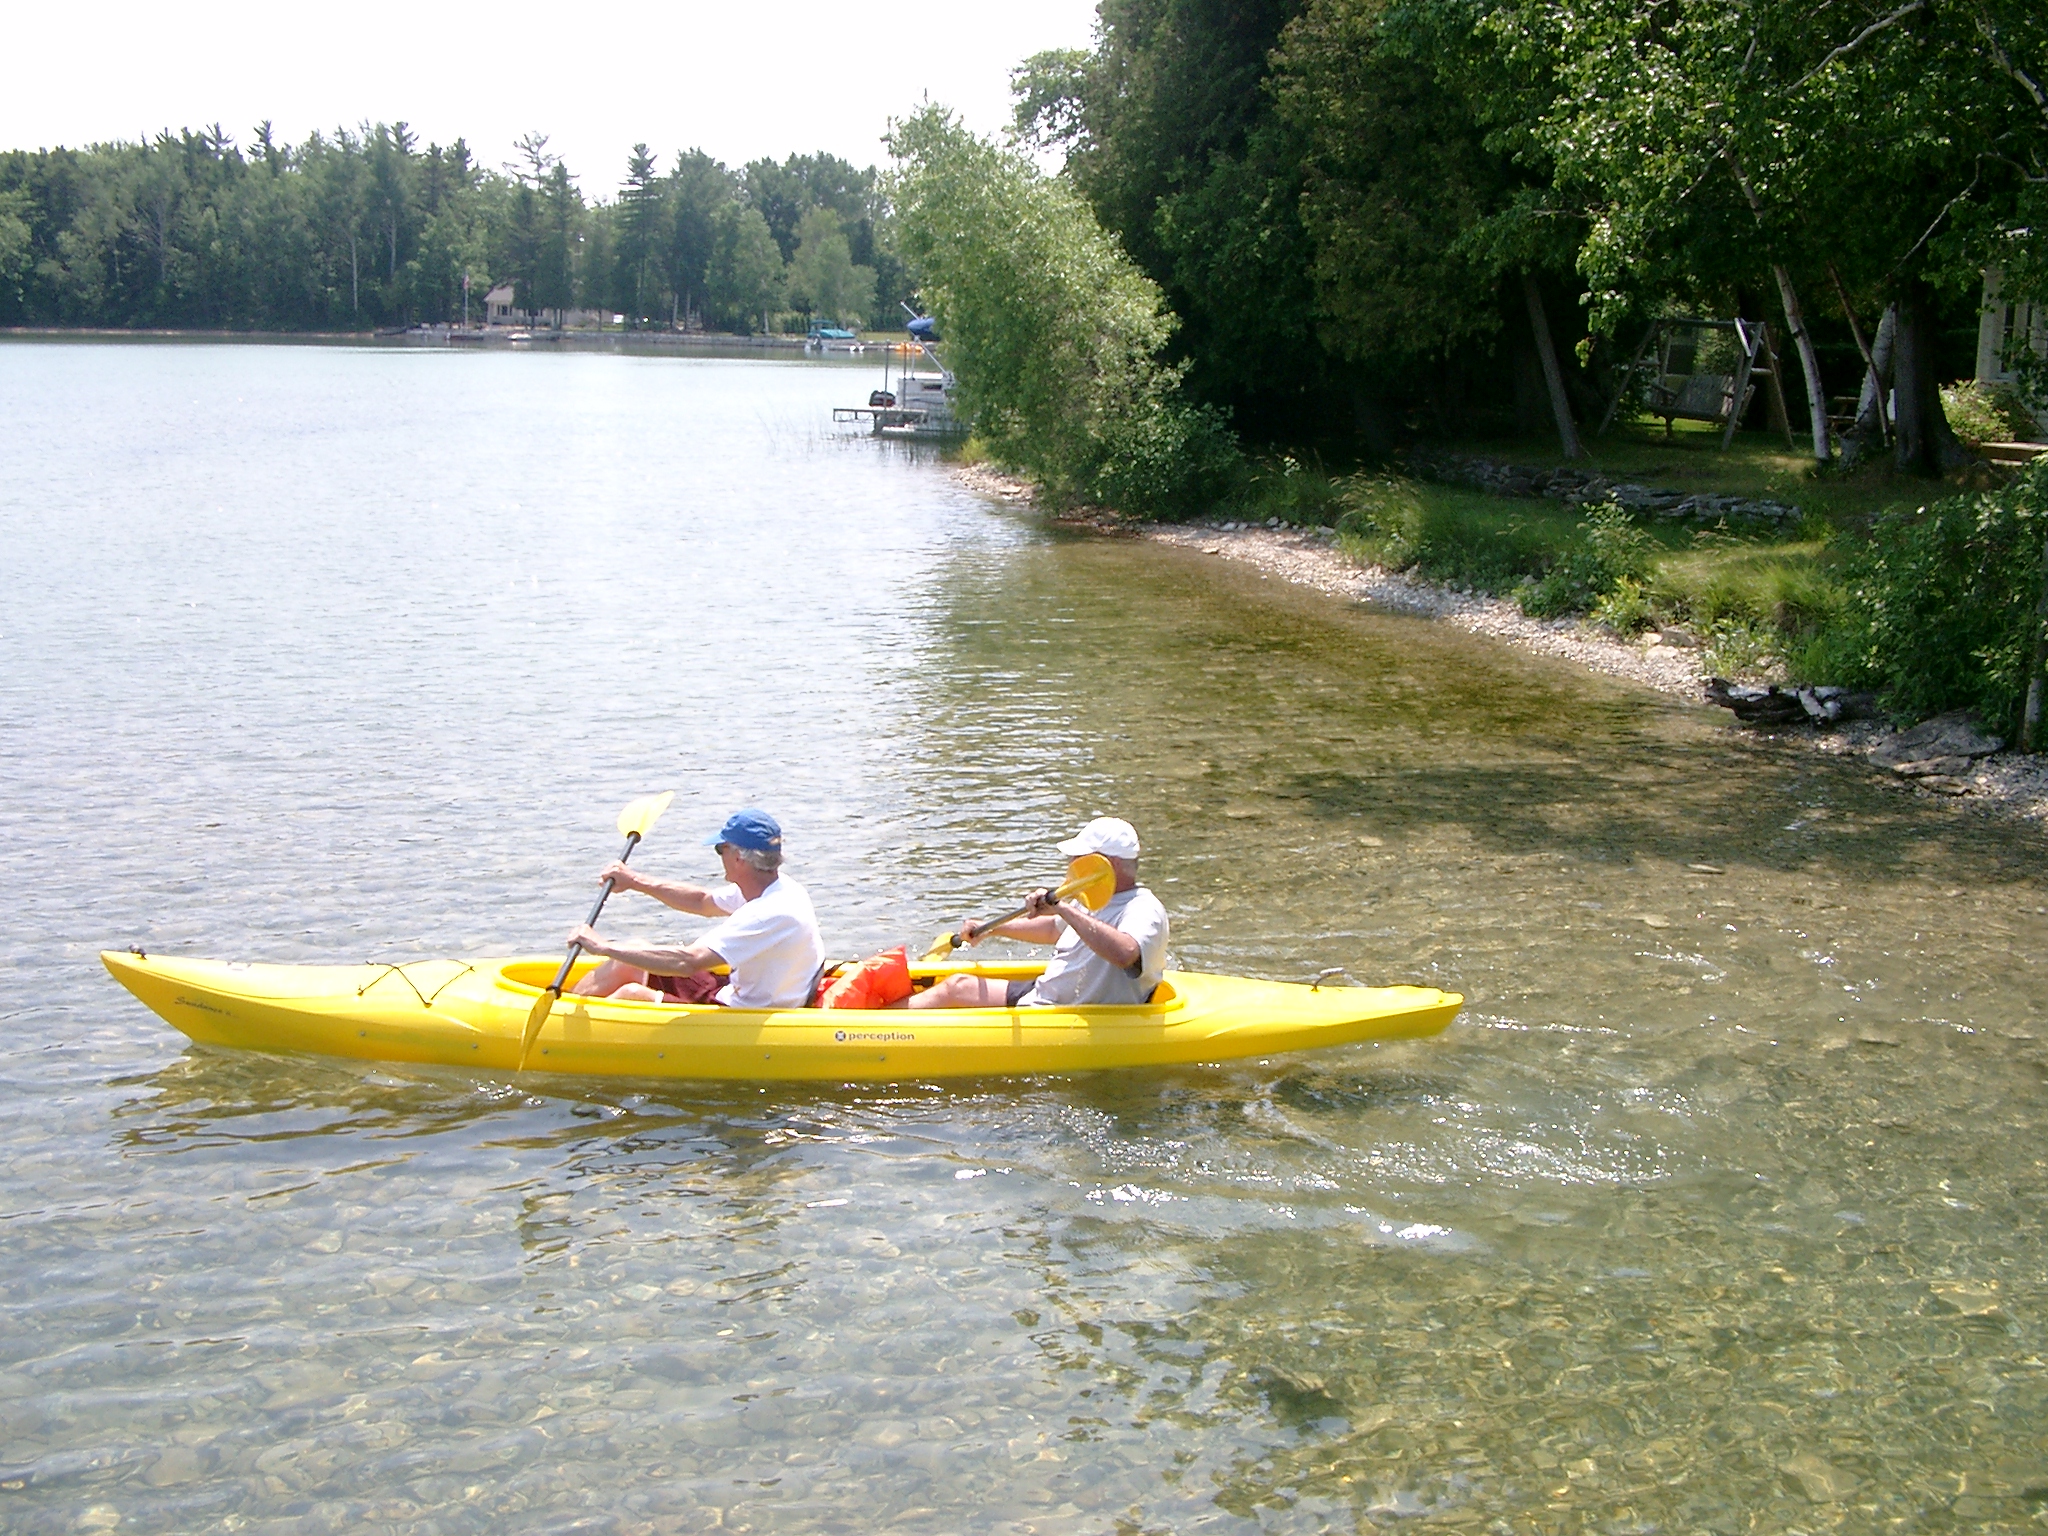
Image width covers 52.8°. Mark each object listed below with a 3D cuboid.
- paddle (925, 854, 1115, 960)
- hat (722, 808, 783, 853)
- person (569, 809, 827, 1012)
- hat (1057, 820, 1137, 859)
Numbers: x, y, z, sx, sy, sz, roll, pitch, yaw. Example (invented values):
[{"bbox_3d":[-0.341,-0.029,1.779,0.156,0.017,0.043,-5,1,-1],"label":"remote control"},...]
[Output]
[{"bbox_3d":[-0.031,1.035,14.631,1.393,0.125,0.444,-22,38,4],"label":"paddle"},{"bbox_3d":[-1.943,0.454,14.210,0.437,0.161,0.270,4,10,28],"label":"hat"},{"bbox_3d":[-2.273,0.999,14.403,1.571,1.387,0.828,-2,13,-1],"label":"person"},{"bbox_3d":[0.500,0.521,14.419,0.542,0.171,0.307,1,0,1],"label":"hat"}]
